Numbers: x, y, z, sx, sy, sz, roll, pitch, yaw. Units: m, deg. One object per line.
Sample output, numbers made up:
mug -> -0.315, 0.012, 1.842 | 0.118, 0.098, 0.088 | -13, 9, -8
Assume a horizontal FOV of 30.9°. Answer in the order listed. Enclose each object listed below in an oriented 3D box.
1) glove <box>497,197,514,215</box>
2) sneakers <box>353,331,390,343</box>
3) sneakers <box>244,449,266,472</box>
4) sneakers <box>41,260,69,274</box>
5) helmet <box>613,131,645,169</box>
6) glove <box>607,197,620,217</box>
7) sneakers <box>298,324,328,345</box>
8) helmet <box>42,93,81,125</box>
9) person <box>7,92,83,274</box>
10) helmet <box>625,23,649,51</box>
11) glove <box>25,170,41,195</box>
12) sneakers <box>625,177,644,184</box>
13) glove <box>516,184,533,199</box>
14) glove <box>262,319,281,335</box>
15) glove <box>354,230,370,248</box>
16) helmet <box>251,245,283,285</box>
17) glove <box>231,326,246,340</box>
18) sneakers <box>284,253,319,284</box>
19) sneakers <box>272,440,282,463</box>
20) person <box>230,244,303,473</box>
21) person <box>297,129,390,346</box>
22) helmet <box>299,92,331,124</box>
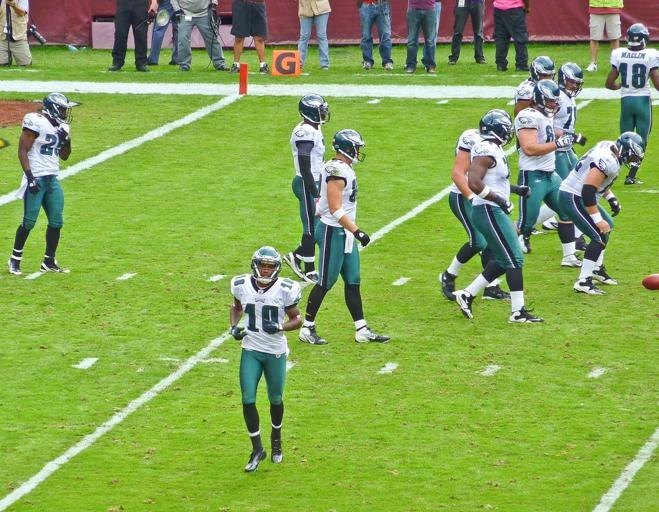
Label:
glove -> 1.878, -0.541, 12.763 | 0.128, 0.083, 0.244 | -6, 20, -8
sneakers -> 0.440, 0.856, 12.584 | 0.384, 0.126, 0.126 | 1, 10, -3
sneakers -> -0.631, 1.754, 10.316 | 0.100, 0.115, 0.258 | 18, 54, 25
sneakers -> -3.245, 0.135, 14.235 | 0.430, 0.211, 0.131 | -1, 9, -11
helmet -> 3.465, -1.228, 13.779 | 0.296, 0.373, 0.341 | 3, 13, 13
glove -> 3.386, -0.565, 14.073 | 0.093, 0.219, 0.170 | -22, 42, -13
sneakers -> -0.169, 0.834, 12.566 | 0.399, 0.221, 0.131 | 6, 8, -5
helmet -> -3.256, -1.730, 14.240 | 0.572, 0.379, 0.382 | -2, 20, -10
person -> -3.403, -0.834, 14.125 | 0.890, 2.085, 0.535 | -11, 17, -36
helmet -> 4.510, -3.185, 17.462 | 0.273, 0.362, 0.379 | 2, 13, 11
glove -> -3.472, -0.865, 13.878 | 0.145, 0.267, 0.189 | -4, 14, -13
sneakers -> 4.499, -1.100, 17.595 | 0.276, 0.103, 0.090 | -1, 9, -1
glove -> 2.124, -0.714, 12.992 | 0.158, 0.147, 0.130 | -11, -28, 44
glove -> -0.508, 0.611, 10.312 | 0.162, 0.083, 0.129 | -1, -27, 2
glove -> 0.339, -0.174, 12.043 | 0.190, 0.140, 0.087 | 32, 60, 34
helmet -> -0.549, 0.064, 10.459 | 0.281, 0.271, 0.336 | 1, 9, -3
glove -> -0.801, 0.684, 10.428 | 0.131, 0.135, 0.231 | -1, 13, -4
sneakers -> -0.335, 0.155, 14.080 | 0.412, 0.177, 0.136 | 38, 27, 7
sneakers -> -0.470, 1.706, 10.465 | 0.085, 0.204, 0.089 | -3, 1, -4
person -> -0.556, 0.877, 10.372 | 0.611, 1.856, 0.649 | -1, 14, -2
person -> 0.118, -0.171, 12.379 | 0.842, 2.198, 0.682 | 3, 14, 14
helmet -> -0.186, -1.670, 13.748 | 0.335, 0.342, 0.356 | -1, 13, -2
